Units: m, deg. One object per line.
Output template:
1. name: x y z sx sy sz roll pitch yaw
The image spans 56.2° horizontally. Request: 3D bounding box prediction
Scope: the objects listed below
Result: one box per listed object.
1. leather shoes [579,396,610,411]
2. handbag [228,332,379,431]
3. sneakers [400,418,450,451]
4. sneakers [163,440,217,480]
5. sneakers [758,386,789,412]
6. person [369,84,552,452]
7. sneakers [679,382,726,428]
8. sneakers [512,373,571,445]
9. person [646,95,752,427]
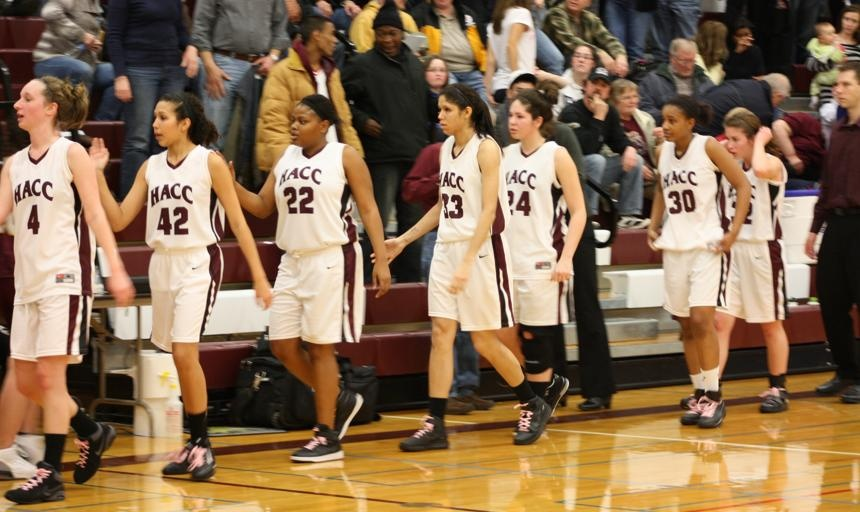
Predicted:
1. leather shoes: 1.461 1.296 7.080 0.282 0.102 0.114 2 1 -22
2. handbag: -0.922 1.082 6.655 1.225 0.664 0.693 5 -9 -32
3. sneakers: -0.050 1.284 5.796 0.450 0.231 0.166 7 -15 -37
4. sneakers: -1.517 1.312 5.174 0.492 0.237 0.155 1 5 12
5. sneakers: 3.031 1.258 7.066 0.227 0.195 0.275 -1 2 24
6. person: 0.298 0.095 5.804 0.989 2.627 0.408 -3 3 0
7. sneakers: 2.275 1.244 6.616 0.255 0.154 0.430 -3 6 32
8. sneakers: 0.812 1.187 6.155 0.230 0.642 0.272 32 -6 43
9. person: 2.294 0.027 6.679 0.663 2.683 0.527 -4 3 -17
